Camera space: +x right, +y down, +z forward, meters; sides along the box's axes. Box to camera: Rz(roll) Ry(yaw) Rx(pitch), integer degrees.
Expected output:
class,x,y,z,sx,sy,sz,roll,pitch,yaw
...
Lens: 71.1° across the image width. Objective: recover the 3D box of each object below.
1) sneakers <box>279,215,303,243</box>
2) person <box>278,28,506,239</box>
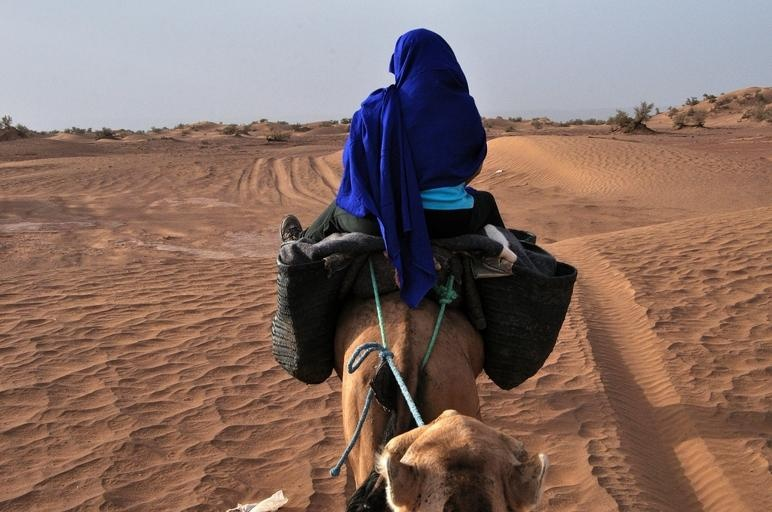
class,x,y,z,sx,sy,sz,roll,pitch,yaw
sneakers,-0.825,-0.247,4.669,0.138,0.140,0.322,2,47,-2
person,0.156,-0.766,4.305,1.024,2.033,1.061,-15,18,-42
